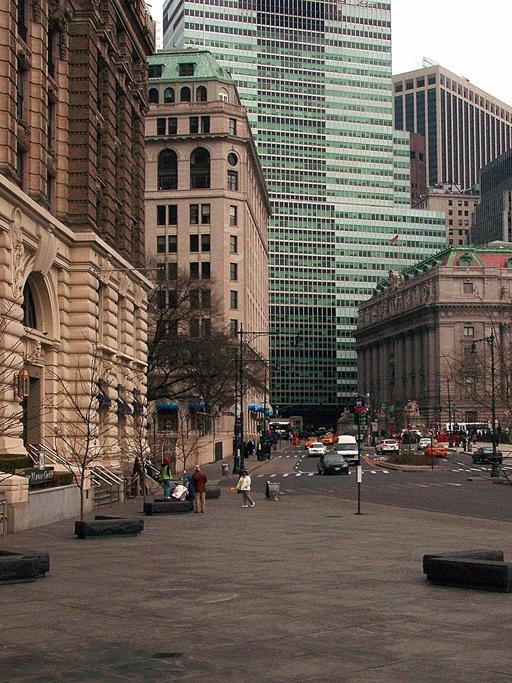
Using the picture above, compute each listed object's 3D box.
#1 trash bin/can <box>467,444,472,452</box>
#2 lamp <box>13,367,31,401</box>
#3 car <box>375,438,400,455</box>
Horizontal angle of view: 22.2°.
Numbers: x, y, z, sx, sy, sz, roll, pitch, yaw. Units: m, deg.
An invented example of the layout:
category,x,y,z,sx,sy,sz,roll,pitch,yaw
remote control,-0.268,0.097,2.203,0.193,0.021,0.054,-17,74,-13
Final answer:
category,x,y,z,sx,sy,sz,roll,pitch,yaw
trash bin/can,17.164,8.568,105.969,0.394,0.859,0.416,-5,-3,34
lamp,-5.906,1.042,32.998,0.276,0.868,1.064,0,-10,-4
car,10.559,8.502,105.883,1.591,1.199,2.577,-1,-10,1
